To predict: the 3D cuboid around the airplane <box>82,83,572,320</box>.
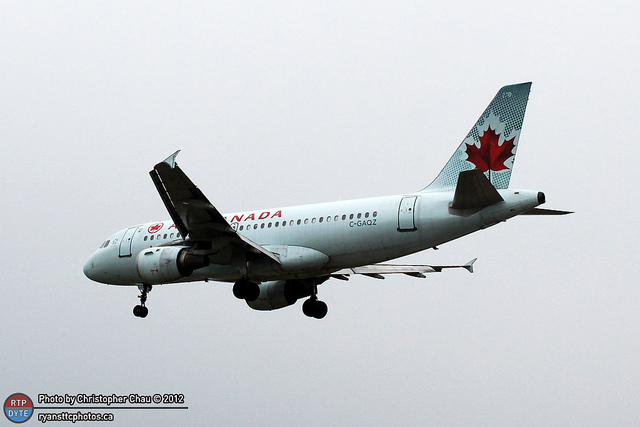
[{"bbox_3d":[0.339,0.611,27.512,9.781,3.233,9.649,-6,-15,28],"label":"airplane"}]
